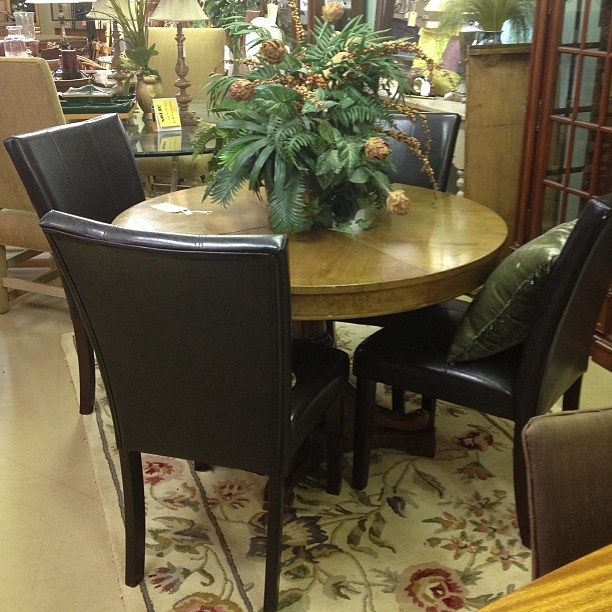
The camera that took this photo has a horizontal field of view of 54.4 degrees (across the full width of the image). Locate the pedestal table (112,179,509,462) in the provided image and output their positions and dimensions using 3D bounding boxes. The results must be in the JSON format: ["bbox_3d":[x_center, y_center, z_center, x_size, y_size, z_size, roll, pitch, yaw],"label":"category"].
[{"bbox_3d":[0.117,-0.125,1.901,1.249,0.609,0.966,7,36,12],"label":"pedestal table"}]

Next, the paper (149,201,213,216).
[{"bbox_3d":[-0.409,-0.304,1.884,0.154,0.005,0.071,9,27,19],"label":"paper"}]

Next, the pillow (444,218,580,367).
[{"bbox_3d":[0.506,-0.025,1.487,0.219,0.347,0.258,10,31,23],"label":"pillow"}]

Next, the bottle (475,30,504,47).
[{"bbox_3d":[0.905,-1.332,2.947,0.124,0.061,0.089,3,26,11],"label":"bottle"}]

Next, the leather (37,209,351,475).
[{"bbox_3d":[-0.251,0.096,1.184,0.472,0.571,0.069,6,32,17],"label":"leather"}]

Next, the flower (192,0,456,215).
[{"bbox_3d":[0.109,-0.531,1.707,0.816,0.542,0.530,-14,38,-7],"label":"flower"}]

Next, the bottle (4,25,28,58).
[{"bbox_3d":[-1.626,-1.473,3.308,0.135,0.164,0.316,-13,26,-18],"label":"bottle"}]
